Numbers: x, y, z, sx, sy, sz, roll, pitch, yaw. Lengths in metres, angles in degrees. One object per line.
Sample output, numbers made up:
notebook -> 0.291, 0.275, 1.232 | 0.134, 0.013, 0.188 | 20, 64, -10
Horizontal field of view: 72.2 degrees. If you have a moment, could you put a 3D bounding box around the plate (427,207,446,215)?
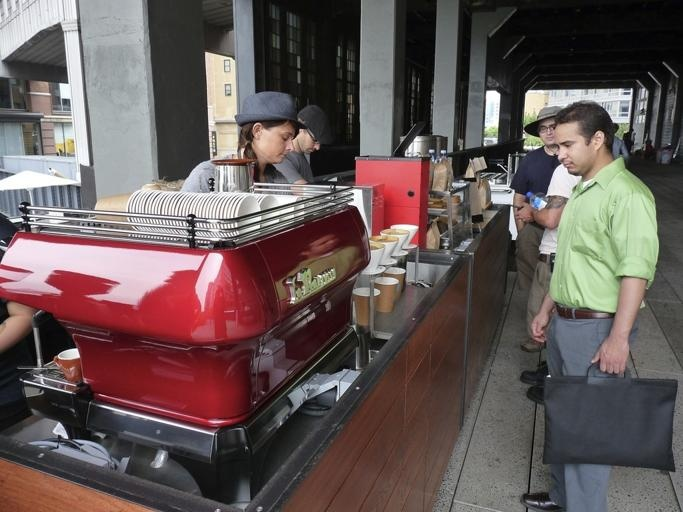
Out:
plate -> 0.553, -0.256, 2.724 | 0.106, 0.047, 0.048 | 2, 14, 12

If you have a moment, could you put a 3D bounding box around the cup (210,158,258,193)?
cup -> -0.288, -0.227, 1.283 | 0.099, 0.082, 0.095 | 1, 12, 0

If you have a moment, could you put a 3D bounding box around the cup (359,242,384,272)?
cup -> 0.112, -0.002, 1.632 | 0.084, 0.075, 0.090 | -1, 13, 0

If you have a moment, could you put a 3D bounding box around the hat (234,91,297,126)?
hat -> -0.243, -0.492, 1.558 | 0.198, 0.114, 0.140 | -4, 14, -13

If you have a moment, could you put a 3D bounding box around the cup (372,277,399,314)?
cup -> 0.168, 0.156, 1.772 | 0.085, 0.091, 0.128 | 0, 2, 9

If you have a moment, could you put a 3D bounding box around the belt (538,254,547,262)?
belt -> 1.425, 0.014, 3.346 | 0.038, 0.070, 0.070 | -7, 7, -18

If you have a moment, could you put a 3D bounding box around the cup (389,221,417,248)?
cup -> 0.278, -0.105, 2.076 | 0.107, 0.078, 0.115 | 0, 16, 0

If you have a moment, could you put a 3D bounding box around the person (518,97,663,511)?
person -> 0.904, 0.221, 2.063 | 0.559, 1.676, 0.655 | 11, 18, 13

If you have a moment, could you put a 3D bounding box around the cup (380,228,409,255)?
cup -> 0.215, -0.065, 1.919 | 0.094, 0.077, 0.100 | -1, 18, 0

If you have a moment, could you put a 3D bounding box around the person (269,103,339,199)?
person -> -0.212, -0.751, 3.158 | 0.413, 0.772, 0.453 | 8, 17, 14

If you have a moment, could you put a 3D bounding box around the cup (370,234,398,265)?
cup -> 0.164, -0.034, 1.726 | 0.102, 0.079, 0.099 | -1, 15, 0

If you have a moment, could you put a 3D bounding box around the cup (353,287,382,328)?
cup -> 0.087, 0.175, 1.633 | 0.108, 0.115, 0.118 | -1, 12, 0

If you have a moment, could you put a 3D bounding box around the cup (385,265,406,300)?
cup -> 0.221, 0.097, 1.939 | 0.096, 0.083, 0.107 | 0, 6, 3
